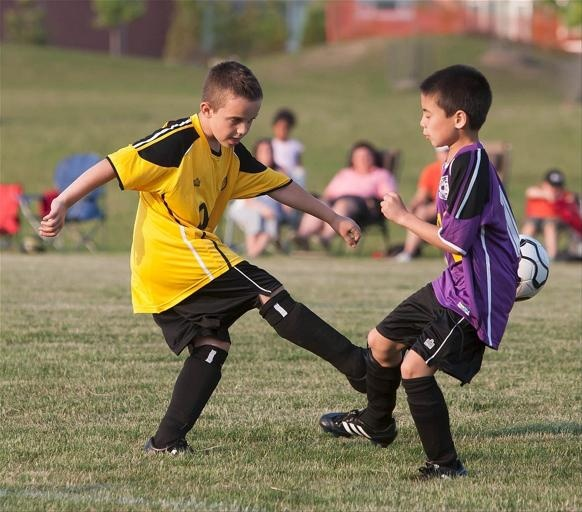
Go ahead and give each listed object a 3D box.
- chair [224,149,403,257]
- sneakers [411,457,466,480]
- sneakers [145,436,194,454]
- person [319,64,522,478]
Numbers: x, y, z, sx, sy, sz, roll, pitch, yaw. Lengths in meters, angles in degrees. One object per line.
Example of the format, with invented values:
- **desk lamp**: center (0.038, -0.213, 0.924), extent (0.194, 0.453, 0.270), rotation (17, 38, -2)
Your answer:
- **chair**: center (0.318, -0.595, 13.062), extent (0.956, 1.123, 1.669), rotation (-2, -5, 41)
- **sneakers**: center (0.776, 1.122, 6.803), extent (0.288, 0.122, 0.098), rotation (2, -7, -9)
- **sneakers**: center (-0.648, 1.016, 6.935), extent (0.258, 0.110, 0.095), rotation (1, 2, -5)
- **person**: center (0.749, 0.056, 6.854), extent (0.856, 2.089, 0.736), rotation (3, 12, 12)
